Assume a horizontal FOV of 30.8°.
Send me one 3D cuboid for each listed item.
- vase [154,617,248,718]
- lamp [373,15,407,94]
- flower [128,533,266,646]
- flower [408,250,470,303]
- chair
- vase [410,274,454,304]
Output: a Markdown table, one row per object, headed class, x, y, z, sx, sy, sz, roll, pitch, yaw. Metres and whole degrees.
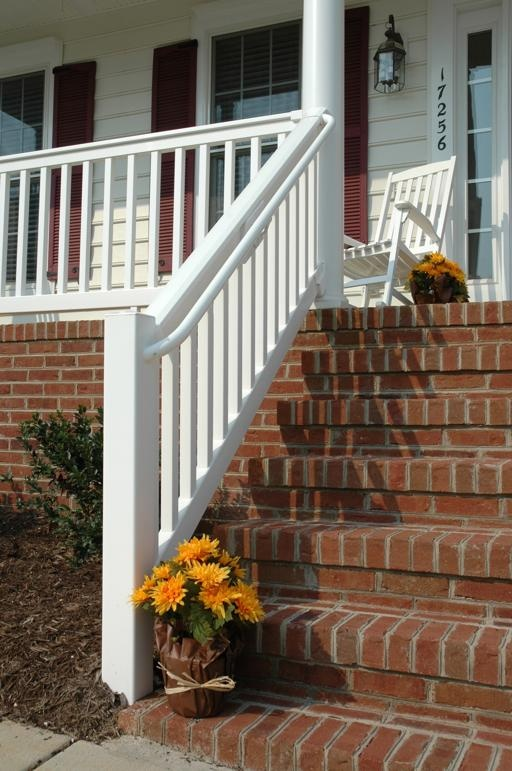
| class | x | y | z | sx | sy | sz | roll | pitch | yaw |
| --- | --- | --- | --- | --- | --- | --- | --- | --- | --- |
| vase | -0.161 | 0.767 | 2.532 | 0.215 | 0.221 | 0.184 | 1 | 0 | 18 |
| lamp | 0.854 | -2.176 | 6.093 | 0.159 | 0.500 | 0.290 | -1 | 5 | -29 |
| flower | -0.159 | 0.556 | 2.481 | 0.278 | 0.260 | 0.293 | 6 | 8 | 5 |
| flower | 0.902 | -0.516 | 4.599 | 0.266 | 0.297 | 0.291 | -2 | -2 | 15 |
| chair | 0.823 | -0.870 | 5.505 | 0.687 | 0.980 | 0.623 | -5 | -2 | -13 |
| vase | 0.866 | -0.460 | 4.616 | 0.170 | 0.117 | 0.165 | -2 | 1 | 26 |
